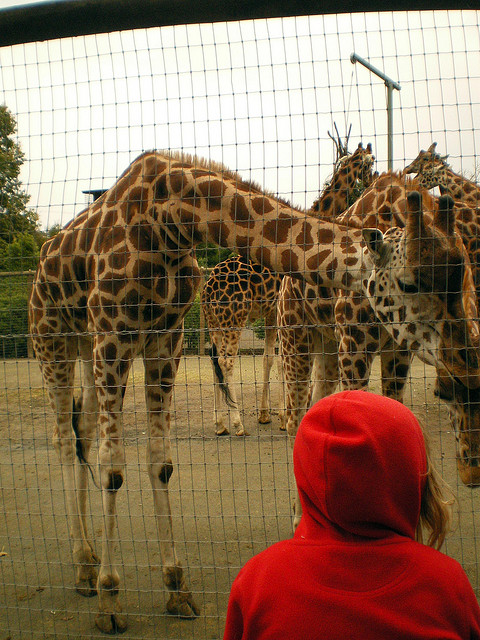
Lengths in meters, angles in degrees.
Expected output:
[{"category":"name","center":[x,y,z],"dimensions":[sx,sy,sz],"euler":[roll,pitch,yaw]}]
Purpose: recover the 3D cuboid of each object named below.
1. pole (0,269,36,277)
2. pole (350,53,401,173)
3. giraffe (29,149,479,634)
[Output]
[{"category":"pole","center":[-1.062,-0.226,5.814],"dimensions":[0.212,0.036,0.016],"euler":[-5,-5,8]},{"category":"pole","center":[0.526,-0.759,4.711],"dimensions":[0.201,0.611,0.055],"euler":[2,-21,1]},{"category":"giraffe","center":[-0.074,0.254,5.508],"dimensions":[2.366,2.094,0.736],"euler":[-4,-2,24]}]
